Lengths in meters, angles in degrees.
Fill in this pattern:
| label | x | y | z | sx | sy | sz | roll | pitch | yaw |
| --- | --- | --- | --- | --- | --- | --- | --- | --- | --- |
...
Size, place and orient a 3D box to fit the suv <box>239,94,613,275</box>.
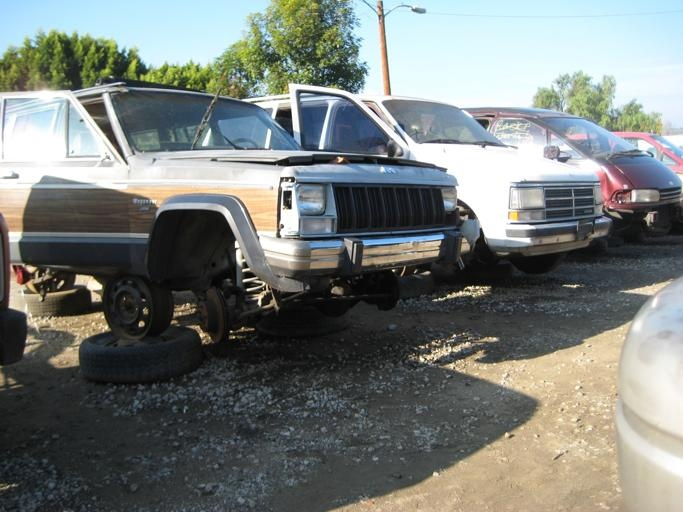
| label | x | y | z | sx | sy | sz | roll | pitch | yaw |
| --- | --- | --- | --- | --- | --- | --- | --- | --- | --- |
| suv | 0.987 | -1.033 | 6.938 | 5.019 | 1.752 | 2.498 | 9 | 12 | 31 |
